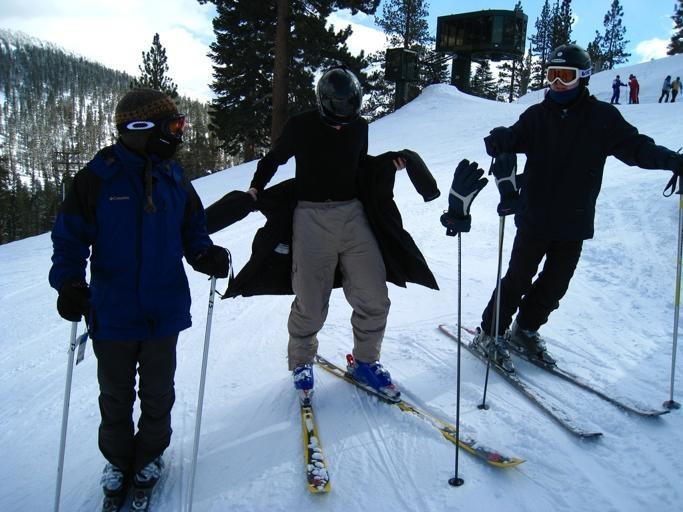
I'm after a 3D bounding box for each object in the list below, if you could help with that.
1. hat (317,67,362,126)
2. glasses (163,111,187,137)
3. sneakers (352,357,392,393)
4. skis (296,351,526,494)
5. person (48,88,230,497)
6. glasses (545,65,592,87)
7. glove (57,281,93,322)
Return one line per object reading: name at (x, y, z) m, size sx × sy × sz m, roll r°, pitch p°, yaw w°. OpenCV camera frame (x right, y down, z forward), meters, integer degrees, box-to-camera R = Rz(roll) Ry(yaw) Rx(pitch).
hat at (-0.004, -1.166, 4.074) m, size 0.325 × 0.411 × 0.245 m, roll 0°, pitch 19°, yaw 0°
glasses at (-1.044, -0.825, 3.488) m, size 0.106 × 0.128 × 0.135 m, roll -4°, pitch 21°, yaw -32°
sneakers at (0.246, 0.900, 4.421) m, size 0.409 × 0.186 × 0.142 m, roll 18°, pitch 25°, yaw 33°
skis at (0.504, 1.228, 4.022) m, size 0.225 × 0.172 × 2.084 m, roll -11°, pitch 24°, yaw -30°
person at (-1.227, 0.244, 3.476) m, size 0.977 × 2.420 × 0.634 m, roll -17°, pitch 25°, yaw -42°
glasses at (1.832, -1.445, 4.397) m, size 0.254 × 0.098 × 0.195 m, roll -26°, pitch 38°, yaw -37°
glove at (-1.545, 0.261, 3.209) m, size 0.164 × 0.246 × 0.097 m, roll 2°, pitch -4°, yaw -16°
